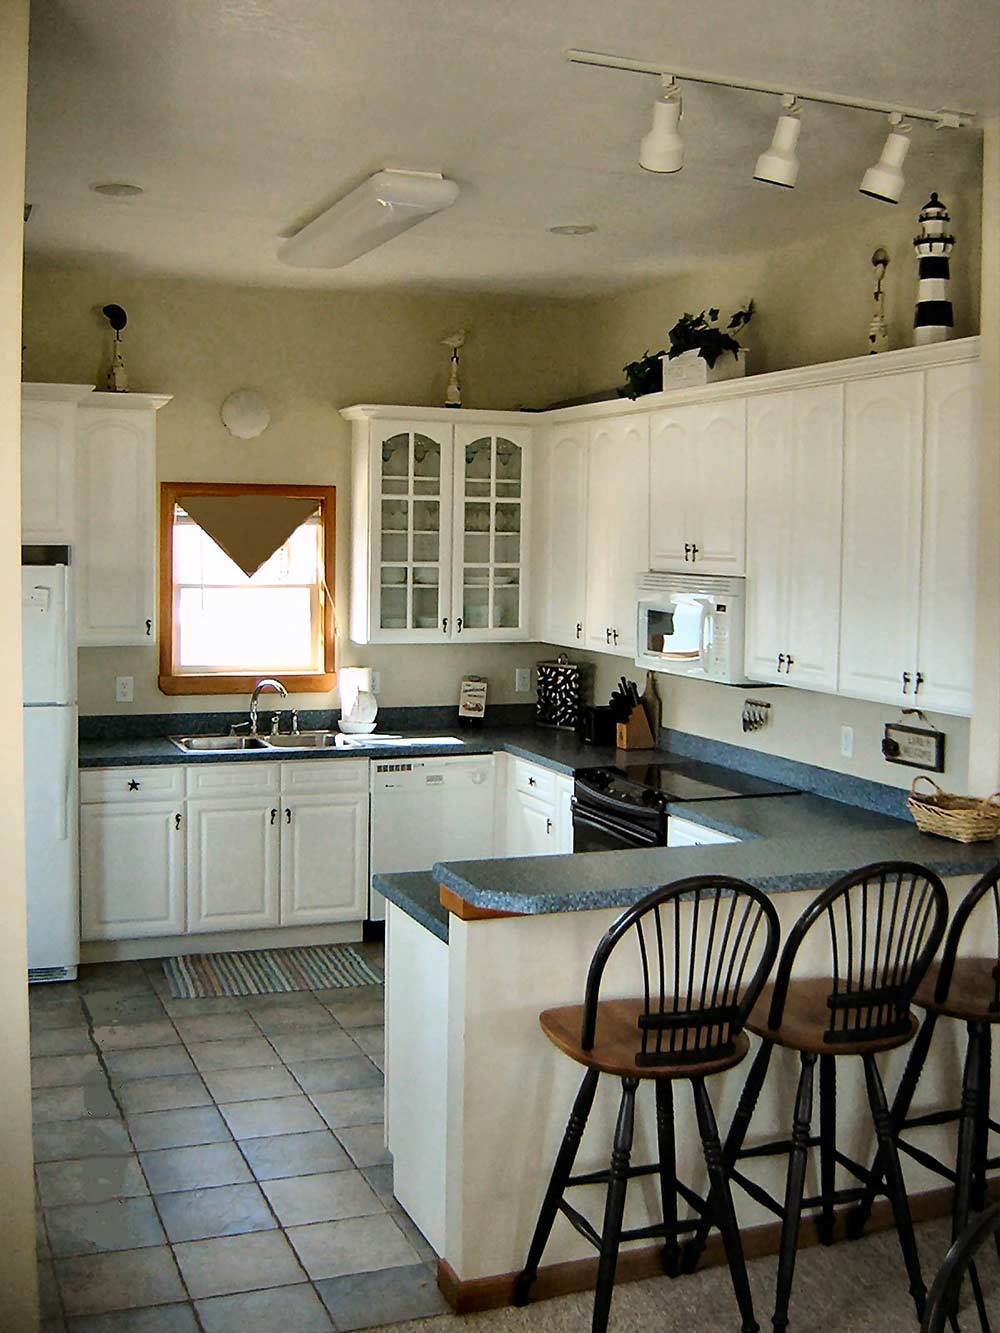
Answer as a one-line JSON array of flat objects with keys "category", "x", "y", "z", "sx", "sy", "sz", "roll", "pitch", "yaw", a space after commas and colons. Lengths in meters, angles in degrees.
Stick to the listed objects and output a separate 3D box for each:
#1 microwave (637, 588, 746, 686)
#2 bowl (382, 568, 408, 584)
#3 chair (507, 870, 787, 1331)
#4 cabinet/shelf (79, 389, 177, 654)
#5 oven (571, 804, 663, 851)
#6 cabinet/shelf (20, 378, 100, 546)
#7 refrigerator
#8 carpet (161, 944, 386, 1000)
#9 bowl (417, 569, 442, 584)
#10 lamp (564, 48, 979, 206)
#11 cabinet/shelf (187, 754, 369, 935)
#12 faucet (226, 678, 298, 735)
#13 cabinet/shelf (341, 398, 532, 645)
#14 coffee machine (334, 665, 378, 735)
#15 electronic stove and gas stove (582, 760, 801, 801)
[{"category": "microwave", "x": 0.813, "y": -0.143, "z": 4.569, "sx": 0.342, "sy": 0.413, "sz": 0.617, "roll": -1, "pitch": 7, "yaw": -28}, {"category": "bowl", "x": -0.526, "y": -0.449, "z": 5.639, "sx": 0.134, "sy": 0.069, "sz": 0.088, "roll": 2, "pitch": -8, "yaw": -9}, {"category": "chair", "x": 0.378, "y": 0.893, "z": 2.407, "sx": 0.638, "sy": 1.011, "sz": 0.528, "roll": -1, "pitch": 2, "yaw": -16}, {"category": "cabinet/shelf", "x": -1.705, "y": -0.658, "z": 5.127, "sx": 0.380, "sy": 1.108, "sz": 0.138, "roll": -1, "pitch": 2, "yaw": -20}, {"category": "oven", "x": 0.471, "y": 0.572, "z": 4.417, "sx": 0.208, "sy": 0.229, "sz": 0.354, "roll": 2, "pitch": 2, "yaw": -16}, {"category": "cabinet/shelf", "x": -1.835, "y": -0.836, "z": 4.735, "sx": 0.266, "sy": 0.668, "sz": 0.132, "roll": -1, "pitch": 2, "yaw": -19}, {"category": "refrigerator", "x": -1.826, "y": 0.443, "z": 4.646, "sx": 0.201, "sy": 1.736, "sz": 0.216, "roll": -1, "pitch": 2, "yaw": -23}, {"category": "carpet", "x": -0.997, "y": 1.319, "z": 4.973, "sx": 0.933, "sy": 0.036, "sz": 0.651, "roll": -1, "pitch": 2, "yaw": -12}, {"category": "bowl", "x": -0.366, "y": -0.451, "z": 5.695, "sx": 0.122, "sy": 0.079, "sz": 0.064, "roll": 3, "pitch": 16, "yaw": 1}, {"category": "lamp", "x": 0.663, "y": -1.237, "z": 2.685, "sx": 0.967, "sy": 0.235, "sz": 0.132, "roll": 2, "pitch": 24, "yaw": -12}, {"category": "cabinet/shelf", "x": -1.041, "y": 0.781, "z": 5.163, "sx": 0.902, "sy": 0.773, "sz": 0.426, "roll": -1, "pitch": 1, "yaw": -20}, {"category": "faucet", "x": -1.201, "y": 0.199, "z": 5.677, "sx": 0.275, "sy": 0.254, "sz": 0.139, "roll": -4, "pitch": 7, "yaw": -35}, {"category": "cabinet/shelf", "x": -0.218, "y": -0.701, "z": 5.817, "sx": 0.951, "sy": 1.138, "sz": 0.362, "roll": 4, "pitch": 7, "yaw": 19}, {"category": "coffee machine", "x": -0.725, "y": 0.170, "z": 5.782, "sx": 0.194, "sy": 0.337, "sz": 0.329, "roll": -1, "pitch": 2, "yaw": -6}, {"category": "electronic stove and gas stove", "x": 0.703, "y": 0.464, "z": 4.518, "sx": 0.597, "sy": 0.071, "sz": 0.794, "roll": -2, "pitch": 2, "yaw": -27}]
